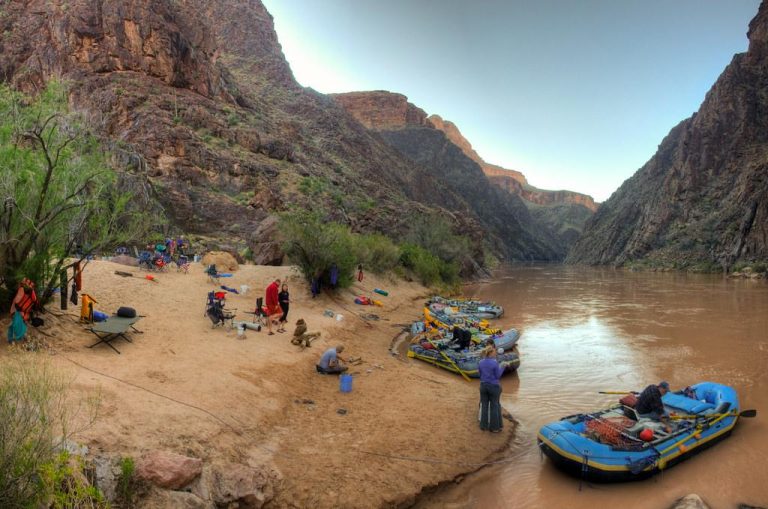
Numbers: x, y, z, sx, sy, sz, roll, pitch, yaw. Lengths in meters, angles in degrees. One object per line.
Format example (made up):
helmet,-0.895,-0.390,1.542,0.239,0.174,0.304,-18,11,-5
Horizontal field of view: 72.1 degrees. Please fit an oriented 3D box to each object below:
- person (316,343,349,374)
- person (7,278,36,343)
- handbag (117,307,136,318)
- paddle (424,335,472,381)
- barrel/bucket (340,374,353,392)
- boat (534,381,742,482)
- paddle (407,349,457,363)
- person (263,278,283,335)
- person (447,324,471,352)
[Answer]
person,-1.890,3.707,18.782,1.133,1.125,0.885,14,8,-36
person,-10.581,1.696,15.419,0.683,1.853,0.640,9,3,27
handbag,-8.490,1.971,17.420,0.521,0.300,0.357,8,1,15
paddle,2.298,3.975,20.309,0.224,0.450,3.064,31,8,-36
barrel/bucket,-1.271,4.334,17.433,0.506,0.528,0.503,4,7,-1
boat,7.683,5.242,15.332,4.754,1.128,2.721,-6,4,-25
paddle,1.773,4.042,20.586,1.556,0.556,0.280,4,6,30
person,-4.216,2.042,20.432,0.743,1.581,1.576,7,2,-16
person,2.970,3.477,21.257,0.727,0.956,2.228,3,-4,7
